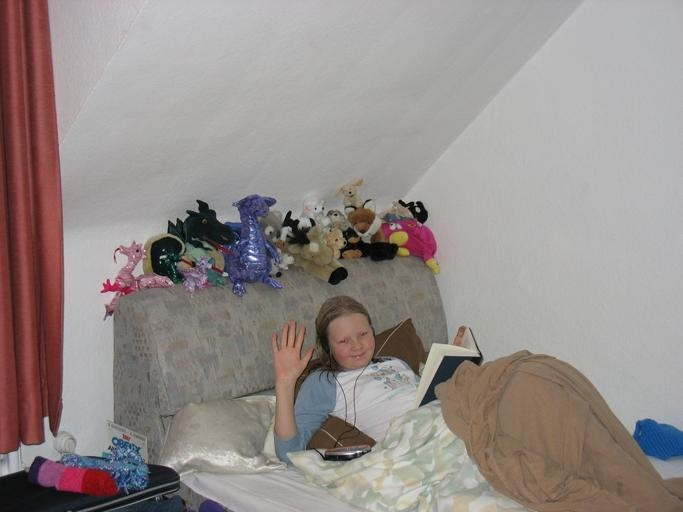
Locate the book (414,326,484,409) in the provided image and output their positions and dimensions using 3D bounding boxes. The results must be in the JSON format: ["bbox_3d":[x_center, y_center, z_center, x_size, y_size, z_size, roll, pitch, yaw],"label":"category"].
[{"bbox_3d":[0.467,0.440,2.268,0.272,0.284,0.074,-9,41,-32],"label":"book"}]

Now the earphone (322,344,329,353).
[{"bbox_3d":[-0.076,0.443,2.666,0.035,0.051,0.041,-5,-9,7],"label":"earphone"}]

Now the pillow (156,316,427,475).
[{"bbox_3d":[-0.251,0.488,2.333,0.783,0.215,0.603,-14,7,-44],"label":"pillow"}]
